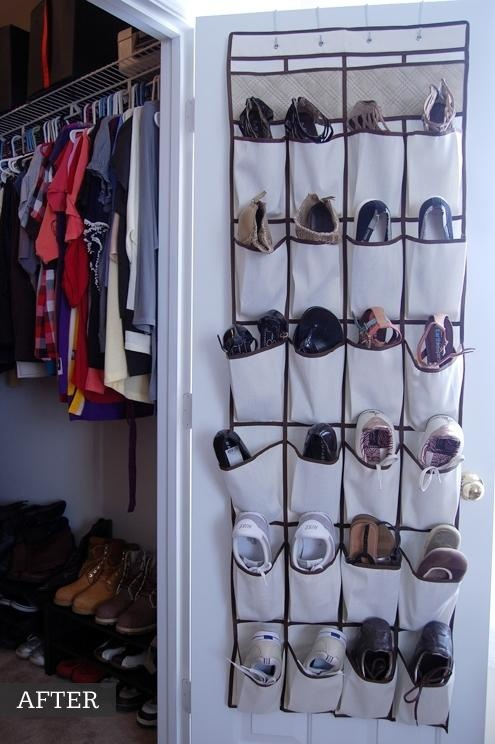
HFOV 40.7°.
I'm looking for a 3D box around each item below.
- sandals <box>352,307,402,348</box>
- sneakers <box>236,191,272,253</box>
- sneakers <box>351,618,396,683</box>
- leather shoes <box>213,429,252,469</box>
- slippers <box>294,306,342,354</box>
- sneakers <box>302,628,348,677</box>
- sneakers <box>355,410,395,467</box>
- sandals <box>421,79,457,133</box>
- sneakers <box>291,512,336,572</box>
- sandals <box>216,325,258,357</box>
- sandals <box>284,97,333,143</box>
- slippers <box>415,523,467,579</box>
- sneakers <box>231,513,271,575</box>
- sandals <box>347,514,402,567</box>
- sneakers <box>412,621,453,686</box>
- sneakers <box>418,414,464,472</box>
[{"bbox_3d":[0.295,-0.095,1.553,0.089,0.120,0.080,11,19,7],"label":"sandals"},{"bbox_3d":[0.017,-0.356,1.587,0.050,0.147,0.103,-2,11,-29],"label":"sneakers"},{"bbox_3d":[0.300,0.629,1.578,0.083,0.214,0.077,-6,37,1],"label":"sneakers"},{"bbox_3d":[-0.038,0.194,1.644,0.092,0.096,0.054,0,2,-8],"label":"leather shoes"},{"bbox_3d":[0.166,-0.098,1.579,0.114,0.106,0.028,1,2,10],"label":"slippers"},{"bbox_3d":[0.186,0.677,1.597,0.107,0.103,0.099,1,2,5],"label":"sneakers"},{"bbox_3d":[0.295,0.150,1.604,0.149,0.063,0.112,-7,20,22],"label":"sneakers"},{"bbox_3d":[0.426,-0.586,1.493,0.051,0.143,0.042,6,15,17],"label":"sandals"},{"bbox_3d":[0.157,0.411,1.597,0.106,0.138,0.117,1,2,9],"label":"sneakers"},{"bbox_3d":[-0.027,-0.075,1.646,0.105,0.078,0.100,1,2,8],"label":"sandals"},{"bbox_3d":[0.142,-0.572,1.572,0.117,0.093,0.039,40,-7,-23],"label":"sandals"},{"bbox_3d":[0.451,0.428,1.544,0.066,0.172,0.057,11,22,13],"label":"slippers"},{"bbox_3d":[0.010,0.423,1.621,0.095,0.145,0.103,1,2,-2],"label":"sneakers"},{"bbox_3d":[0.301,0.406,1.600,0.124,0.115,0.063,1,2,8],"label":"sandals"},{"bbox_3d":[0.440,0.665,1.558,0.110,0.143,0.116,1,2,1],"label":"sneakers"},{"bbox_3d":[0.441,0.169,1.526,0.072,0.144,0.038,13,21,7],"label":"sneakers"}]
